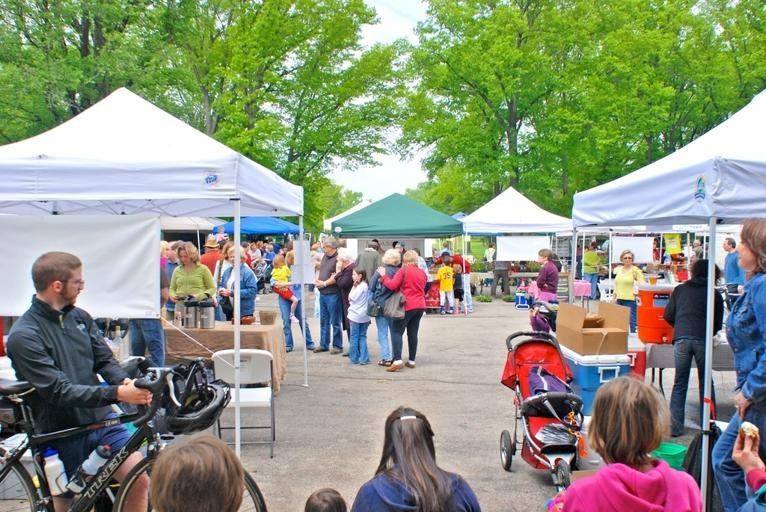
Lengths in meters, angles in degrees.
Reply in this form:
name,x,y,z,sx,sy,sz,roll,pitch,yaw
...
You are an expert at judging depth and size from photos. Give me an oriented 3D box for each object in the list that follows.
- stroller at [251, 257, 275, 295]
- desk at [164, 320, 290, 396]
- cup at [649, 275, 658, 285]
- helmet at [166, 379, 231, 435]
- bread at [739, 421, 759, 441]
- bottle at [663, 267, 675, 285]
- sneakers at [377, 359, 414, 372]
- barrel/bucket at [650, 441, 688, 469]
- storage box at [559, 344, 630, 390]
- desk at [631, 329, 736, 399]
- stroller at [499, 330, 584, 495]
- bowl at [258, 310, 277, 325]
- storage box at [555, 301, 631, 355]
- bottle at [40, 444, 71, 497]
name,x,y,z,sx,sy,sz,roll,pitch,yaw
stroller,-3.927,0.632,23.470,1.097,1.041,0.780,1,-25,-16
desk,-2.670,1.828,11.841,1.941,0.801,1.858,3,-35,-18
cup,6.041,0.529,17.083,0.147,0.129,0.136,4,-10,1
helmet,-1.745,1.442,7.252,0.525,0.149,0.497,-8,24,-12
bread,3.280,1.575,6.909,0.185,0.156,0.144,-13,-7,33
bottle,7.403,0.520,19.796,0.149,0.377,0.207,-8,2,-18
sneakers,0.250,1.866,13.157,0.539,0.219,0.202,-7,-5,43
barrel/bucket,3.098,2.170,8.312,0.325,0.236,0.294,5,12,28
storage box,2.697,1.540,9.723,0.856,0.407,0.540,-2,-19,1
desk,4.422,1.650,11.183,1.641,0.829,1.832,4,-4,14
stroller,1.917,1.787,9.016,0.969,1.632,1.525,0,11,2
bowl,-1.795,0.942,11.875,0.257,0.174,0.246,-1,1,0
storage box,2.726,0.924,9.979,0.704,0.548,0.943,-2,4,-5
bottle,-3.117,2.048,7.273,0.253,0.434,0.115,5,13,25
